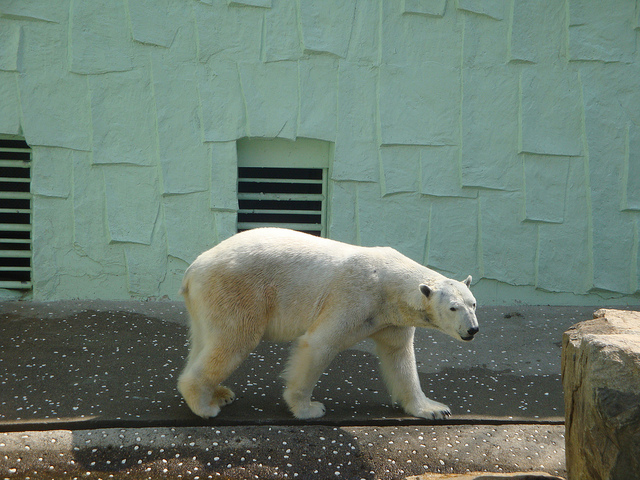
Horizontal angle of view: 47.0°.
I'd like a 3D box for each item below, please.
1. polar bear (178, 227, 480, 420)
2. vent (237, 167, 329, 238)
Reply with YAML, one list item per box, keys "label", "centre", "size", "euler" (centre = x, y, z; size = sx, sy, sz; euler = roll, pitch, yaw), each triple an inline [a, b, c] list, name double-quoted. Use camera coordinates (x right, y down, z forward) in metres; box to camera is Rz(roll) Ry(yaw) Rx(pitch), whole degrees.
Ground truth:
- label: "polar bear"
  centre: [-0.057, 0.578, 4.903]
  size: [1.787, 1.207, 0.407]
  euler: [4, 8, 0]
- label: "vent"
  centre: [-0.348, -0.383, 6.754]
  size: [0.832, 0.640, 0.103]
  euler: [-4, 15, -21]
